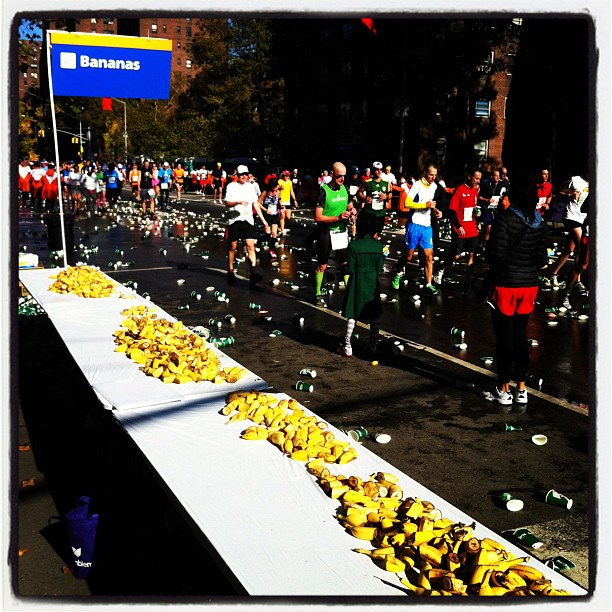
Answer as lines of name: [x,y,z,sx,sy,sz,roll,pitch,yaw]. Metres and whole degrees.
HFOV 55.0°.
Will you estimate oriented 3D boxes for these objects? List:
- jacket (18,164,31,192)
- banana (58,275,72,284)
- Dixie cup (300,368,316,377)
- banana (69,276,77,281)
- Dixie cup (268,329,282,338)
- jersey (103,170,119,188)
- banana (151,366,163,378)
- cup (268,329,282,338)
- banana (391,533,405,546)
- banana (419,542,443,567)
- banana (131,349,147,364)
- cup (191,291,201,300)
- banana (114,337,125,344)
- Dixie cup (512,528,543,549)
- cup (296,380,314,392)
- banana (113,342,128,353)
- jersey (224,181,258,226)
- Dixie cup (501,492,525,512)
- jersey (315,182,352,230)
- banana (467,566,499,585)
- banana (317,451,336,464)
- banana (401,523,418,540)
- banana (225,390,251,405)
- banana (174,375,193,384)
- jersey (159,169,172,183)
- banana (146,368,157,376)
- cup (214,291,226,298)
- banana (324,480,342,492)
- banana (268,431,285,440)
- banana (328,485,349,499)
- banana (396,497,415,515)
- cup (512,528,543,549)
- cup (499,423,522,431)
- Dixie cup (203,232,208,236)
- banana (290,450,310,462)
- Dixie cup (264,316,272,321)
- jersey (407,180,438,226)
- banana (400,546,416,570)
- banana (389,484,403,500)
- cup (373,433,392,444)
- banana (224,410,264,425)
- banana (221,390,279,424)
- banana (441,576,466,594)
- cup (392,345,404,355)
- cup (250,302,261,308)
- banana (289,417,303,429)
jacket: [-16.232,-7.399,33.988,0.674,1.422,3.082,-7,15,-24]
banana: [-3.651,-0.402,8.891,0.112,0.023,0.357,-13,30,-33]
Dixie cup: [0.041,0.861,7.553,0.143,0.093,0.116,4,-1,17]
banana: [-3.619,-0.435,9.104,0.109,0.025,0.112,-9,20,-36]
Dixie cup: [-0.478,0.447,9.491,0.117,0.049,0.152,11,22,22]
jersey: [-10.503,-6.833,31.562,0.705,0.916,1.730,-8,16,-27]
banana: [-1.294,0.581,5.150,0.093,0.063,0.056,-8,17,-29]
cup: [-0.503,0.451,9.508,0.120,0.049,0.151,15,-19,-20]
banana: [0.466,1.175,2.949,0.064,0.037,0.057,-4,-15,16]
banana: [0.605,1.202,2.832,0.113,0.058,0.110,3,14,12]
banana: [-1.580,0.478,5.553,0.115,0.052,0.158,-2,16,-19]
cup: [-2.238,-0.226,12.130,0.206,0.174,0.298,-6,17,-29]
banana: [-1.941,0.361,6.119,0.075,0.018,0.077,37,18,36]
Dixie cup: [1.507,1.579,4.001,0.117,0.099,0.153,-11,22,-31]
cup: [-0.017,0.972,7.063,0.219,0.100,0.190,3,14,12]
banana: [-1.822,0.417,5.867,0.140,0.045,0.189,5,14,19]
jersey: [-1.390,-2.231,12.803,0.782,0.972,0.367,-7,18,-24]
Dixie cup: [1.603,1.514,4.534,0.146,0.065,0.129,0,4,3]
jersey: [0.509,-1.873,11.095,0.656,0.856,0.400,-2,16,-8]
banana: [0.813,1.232,2.693,0.117,0.036,0.075,-9,-8,-2]
banana: [0.138,0.979,3.793,0.064,0.031,0.095,4,11,-24]
banana: [0.537,1.149,2.994,0.066,0.064,0.020,2,-2,-6]
banana: [-0.549,0.708,4.606,0.139,0.033,0.127,-8,6,-25]
banana: [-1.049,0.631,5.054,0.138,0.041,0.067,-12,18,-41]
jersey: [-8.613,-7.968,35.946,0.635,0.825,1.117,-4,15,-12]
banana: [-1.361,0.584,5.187,0.071,0.023,0.058,-30,4,13]
cup: [-1.736,-0.237,12.024,0.123,0.080,0.167,11,-4,-41]
banana: [0.161,1.049,3.423,0.088,0.059,0.060,1,-16,-24]
banana: [-0.207,0.897,4.065,0.068,0.017,0.061,4,14,5]
banana: [0.187,1.070,3.376,0.083,0.025,0.073,4,32,18]
banana: [0.536,1.095,3.210,0.092,0.027,0.064,-37,9,11]
cup: [1.509,1.582,4.002,0.133,0.108,0.167,-11,27,-32]
cup: [2.094,1.230,5.974,0.152,0.051,0.075,4,24,0]
Dixie cup: [-4.005,-2.904,23.542,0.168,0.097,0.145,-8,14,-32]
banana: [-0.037,0.968,3.799,0.098,0.029,0.065,1,20,-31]
Dixie cup: [-0.662,0.225,10.384,0.056,0.065,0.124,-16,-2,-19]
jersey: [2.325,-2.066,11.856,0.524,0.919,0.597,3,16,12]
banana: [0.498,1.225,2.850,0.075,0.062,0.109,5,8,10]
banana: [0.520,1.077,3.404,0.070,0.058,0.070,22,4,-1]
cup: [0.722,1.274,5.642,0.156,0.085,0.113,3,15,13]
banana: [-0.449,0.820,4.307,0.262,0.066,0.088,-2,43,-19]
banana: [-0.455,0.762,4.446,0.293,0.075,0.228,5,20,10]
banana: [0.667,1.248,2.625,0.093,0.021,0.074,6,48,-15]
cup: [1.380,0.626,8.612,0.116,0.138,0.279,12,18,38]
cup: [-0.972,-0.019,11.259,0.182,0.104,0.106,6,-29,-9]
banana: [-0.075,0.840,4.228,0.088,0.039,0.111,2,13,8]
